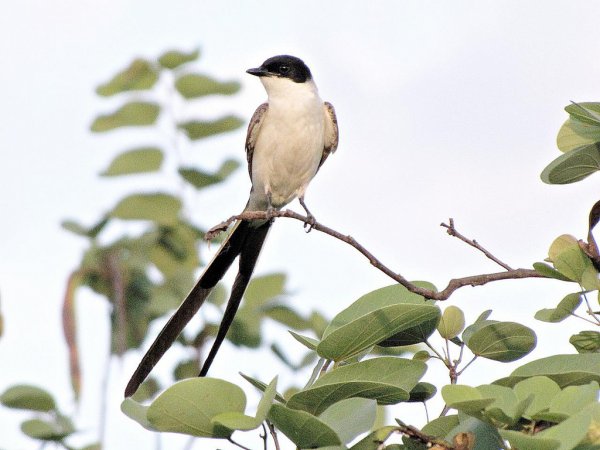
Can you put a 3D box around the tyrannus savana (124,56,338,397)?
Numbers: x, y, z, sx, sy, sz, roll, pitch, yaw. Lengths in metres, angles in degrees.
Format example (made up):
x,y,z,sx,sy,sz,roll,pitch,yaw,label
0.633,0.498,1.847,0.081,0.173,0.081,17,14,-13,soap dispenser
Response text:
x,y,z,sx,sy,sz,roll,pitch,yaw,label
-0.219,-0.196,5.126,0.627,0.661,2.188,19,-72,-23,tyrannus savana
